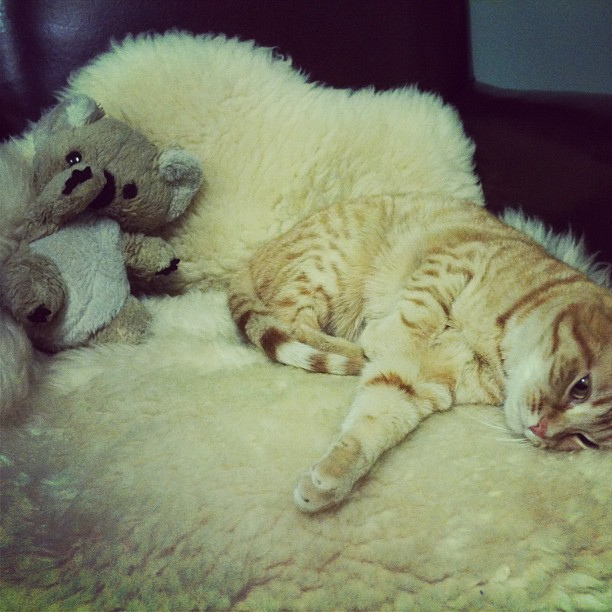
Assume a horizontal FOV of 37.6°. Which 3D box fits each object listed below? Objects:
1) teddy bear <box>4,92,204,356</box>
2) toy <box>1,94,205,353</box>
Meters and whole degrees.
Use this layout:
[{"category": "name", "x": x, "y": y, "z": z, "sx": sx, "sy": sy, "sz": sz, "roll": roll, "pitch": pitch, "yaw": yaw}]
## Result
[{"category": "teddy bear", "x": -0.423, "y": -0.169, "z": 1.808, "sx": 0.415, "sy": 0.312, "sz": 0.591, "roll": 11, "pitch": 74, "yaw": -13}, {"category": "toy", "x": -0.425, "y": -0.170, "z": 1.809, "sx": 0.356, "sy": 0.277, "sz": 0.534, "roll": 22, "pitch": 76, "yaw": -12}]
